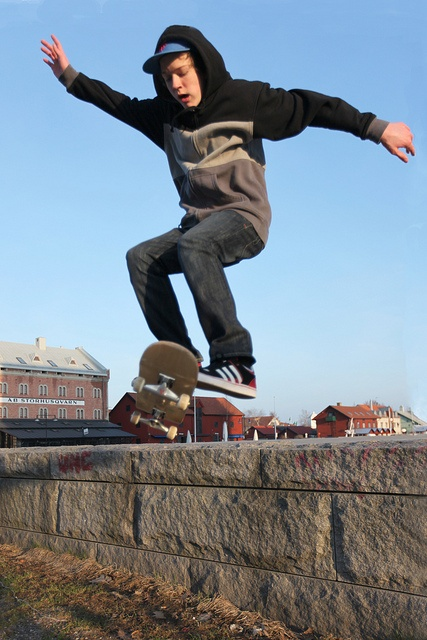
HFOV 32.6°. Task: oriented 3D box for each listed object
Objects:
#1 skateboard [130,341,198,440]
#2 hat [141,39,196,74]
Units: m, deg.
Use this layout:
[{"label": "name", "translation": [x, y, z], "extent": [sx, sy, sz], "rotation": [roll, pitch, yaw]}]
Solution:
[{"label": "skateboard", "translation": [-0.258, 0.363, 4.195], "extent": [0.346, 0.210, 0.711], "rotation": [19, -6, 3]}, {"label": "hat", "translation": [-0.318, -1.575, 4.417], "extent": [0.187, 0.146, 0.339], "rotation": [12, -11, -41]}]
